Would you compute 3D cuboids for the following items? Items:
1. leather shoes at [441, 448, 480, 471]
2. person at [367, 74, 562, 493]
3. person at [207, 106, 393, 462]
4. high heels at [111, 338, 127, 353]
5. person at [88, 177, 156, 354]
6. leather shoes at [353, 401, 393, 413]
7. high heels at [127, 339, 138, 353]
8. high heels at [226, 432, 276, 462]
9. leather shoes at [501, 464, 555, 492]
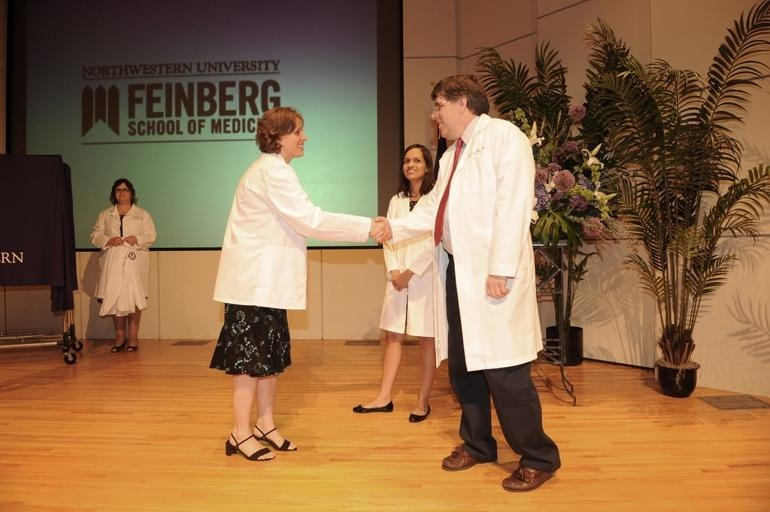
[{"bbox_3d":[0.577,1.538,4.672,0.275,0.122,0.137,4,-3,-21],"label":"leather shoes"},{"bbox_3d":[0.699,0.167,4.526,0.679,2.909,1.287,-12,17,-42],"label":"person"},{"bbox_3d":[-0.833,0.203,4.811,1.120,2.636,0.623,-5,13,-19],"label":"person"},{"bbox_3d":[-3.291,1.121,7.608,0.088,0.120,0.280,-1,-6,4],"label":"high heels"},{"bbox_3d":[-3.255,0.100,7.683,0.730,2.017,0.888,-5,13,-18],"label":"person"},{"bbox_3d":[-0.098,1.367,5.516,0.291,0.123,0.132,3,-6,-2],"label":"leather shoes"},{"bbox_3d":[-3.128,1.085,7.561,0.129,0.149,0.213,-6,14,-21],"label":"high heels"},{"bbox_3d":[-1.051,1.507,4.844,0.370,0.183,0.181,2,1,14],"label":"high heels"},{"bbox_3d":[1.025,1.585,4.433,0.343,0.152,0.155,3,-6,-24],"label":"leather shoes"}]
